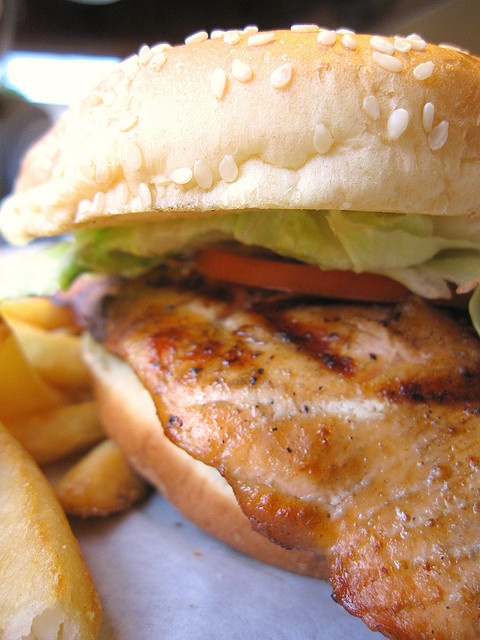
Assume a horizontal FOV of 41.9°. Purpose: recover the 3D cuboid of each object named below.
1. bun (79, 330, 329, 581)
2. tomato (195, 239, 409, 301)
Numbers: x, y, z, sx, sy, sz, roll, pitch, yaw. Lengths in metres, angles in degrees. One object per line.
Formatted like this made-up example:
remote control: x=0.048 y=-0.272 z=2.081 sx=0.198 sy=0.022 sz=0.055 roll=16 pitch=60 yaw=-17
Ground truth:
bun: x=0.041 y=0.198 z=1.200 sx=0.120 sy=0.432 sz=0.458 roll=-50 pitch=28 yaw=-15
tomato: x=0.099 y=-0.087 z=1.211 sx=0.264 sy=0.050 sz=0.169 roll=13 pitch=4 yaw=32
